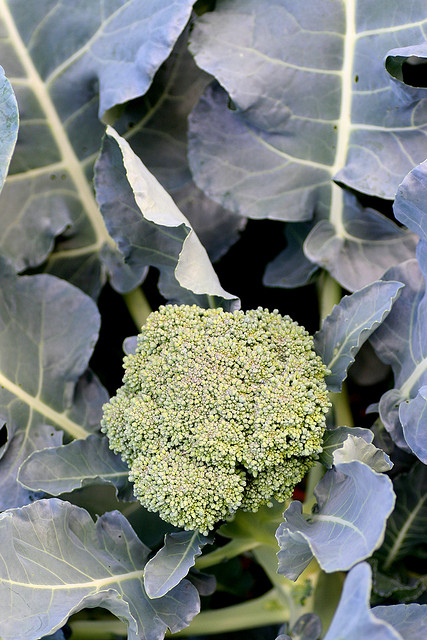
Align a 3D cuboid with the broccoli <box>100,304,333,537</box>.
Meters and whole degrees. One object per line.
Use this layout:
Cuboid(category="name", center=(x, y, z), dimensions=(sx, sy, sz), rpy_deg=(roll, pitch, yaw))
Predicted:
Cuboid(category="broccoli", center=(0.000, 0.095, 0.870), dimensions=(0.285, 0.096, 0.253), rpy_deg=(-32, 62, -10))
